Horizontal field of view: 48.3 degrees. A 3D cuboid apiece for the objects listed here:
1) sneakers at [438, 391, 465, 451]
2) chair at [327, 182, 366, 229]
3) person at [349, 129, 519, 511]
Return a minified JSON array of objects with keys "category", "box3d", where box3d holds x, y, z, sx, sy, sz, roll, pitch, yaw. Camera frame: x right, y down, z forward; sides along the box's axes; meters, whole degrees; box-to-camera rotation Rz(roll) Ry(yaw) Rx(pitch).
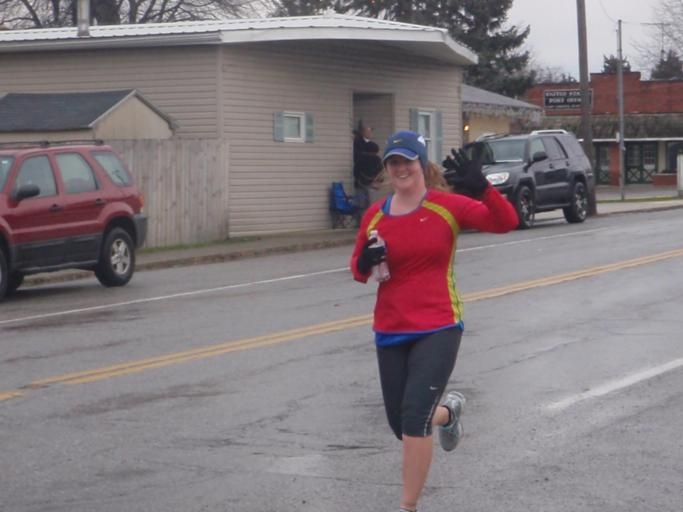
[{"category":"sneakers","box3d":[0.677,1.060,4.811,0.177,0.460,0.133,17,-22,-38]},{"category":"chair","box3d":[0.219,-1.471,22.506,0.899,1.428,0.957,0,7,29]},{"category":"person","box3d":[0.501,0.317,4.531,0.695,2.095,0.663,-3,5,-25]}]
